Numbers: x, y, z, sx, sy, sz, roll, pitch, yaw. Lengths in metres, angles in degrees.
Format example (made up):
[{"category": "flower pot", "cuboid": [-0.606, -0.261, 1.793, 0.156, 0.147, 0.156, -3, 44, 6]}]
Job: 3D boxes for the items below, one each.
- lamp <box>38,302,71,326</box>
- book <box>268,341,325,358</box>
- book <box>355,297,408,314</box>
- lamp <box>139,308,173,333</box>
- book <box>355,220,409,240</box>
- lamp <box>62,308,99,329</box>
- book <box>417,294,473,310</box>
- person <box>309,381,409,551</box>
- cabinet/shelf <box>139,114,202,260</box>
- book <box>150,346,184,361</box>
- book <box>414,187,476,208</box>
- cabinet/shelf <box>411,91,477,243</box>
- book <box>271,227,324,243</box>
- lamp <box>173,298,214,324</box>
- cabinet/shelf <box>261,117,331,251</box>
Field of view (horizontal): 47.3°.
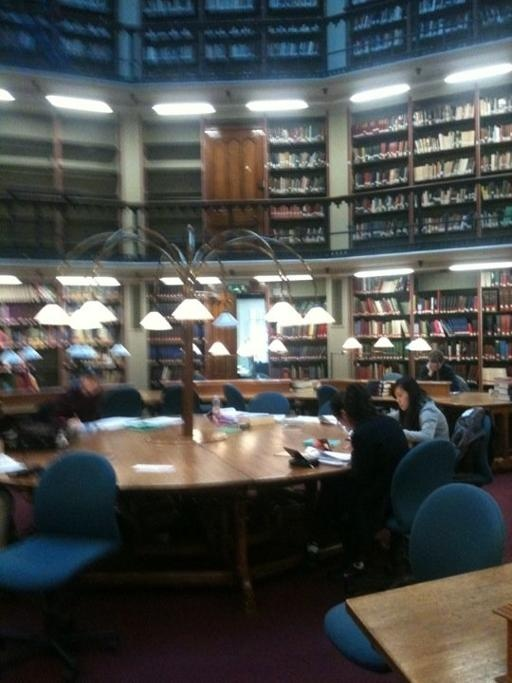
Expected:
[{"category": "lamp", "cuboid": [-1.116, -0.176, 3.223, 0.166, 0.036, 0.162, 18, 18, 18]}, {"category": "book", "cuboid": [0.656, 0.108, 7.931, 0.558, 0.220, 0.156, -2, 4, 3]}, {"category": "book", "cuboid": [1.590, -0.458, 7.508, 0.688, 0.229, 0.153, 0, 5, 40]}, {"category": "lamp", "cuboid": [-0.935, -0.214, 5.458, 0.388, 0.171, 0.369, -2, 10, -21]}, {"category": "book", "cuboid": [1.592, -1.455, 7.561, 0.764, 0.267, 0.374, -1, 4, 24]}, {"category": "lamp", "cuboid": [-0.892, -0.117, 3.038, 0.162, 0.120, 0.242, -4, 4, -17]}, {"category": "book", "cuboid": [2.253, -0.457, 6.986, 0.187, 0.223, 0.750, -6, 5, -39]}, {"category": "person", "cuboid": [0.493, 0.590, 2.881, 0.420, 0.743, 0.334, 13, 22, 29]}, {"category": "cabinet/shelf", "cuboid": [-1.158, -2.207, 8.240, 0.840, 2.042, 1.512, -3, 4, -8]}, {"category": "book", "cuboid": [-1.140, 0.141, 7.359, 0.238, 0.162, 0.232, 9, -1, -16]}, {"category": "book", "cuboid": [2.277, -1.757, 7.108, 0.718, 0.212, 0.190, -1, 4, 25]}, {"category": "cabinet/shelf", "cuboid": [2.256, -2.260, 7.155, 0.811, 1.330, 0.389, 0, 5, 13]}, {"category": "book", "cuboid": [0.569, -1.442, 7.946, 0.718, 0.269, 0.200, -2, 4, 3]}, {"category": "lamp", "cuboid": [-0.344, -0.158, 3.040, 0.162, 0.071, 0.165, 5, 8, 35]}, {"category": "cabinet/shelf", "cuboid": [0.553, -2.049, 7.938, 0.797, 1.770, 0.218, 0, 14, 5]}]
